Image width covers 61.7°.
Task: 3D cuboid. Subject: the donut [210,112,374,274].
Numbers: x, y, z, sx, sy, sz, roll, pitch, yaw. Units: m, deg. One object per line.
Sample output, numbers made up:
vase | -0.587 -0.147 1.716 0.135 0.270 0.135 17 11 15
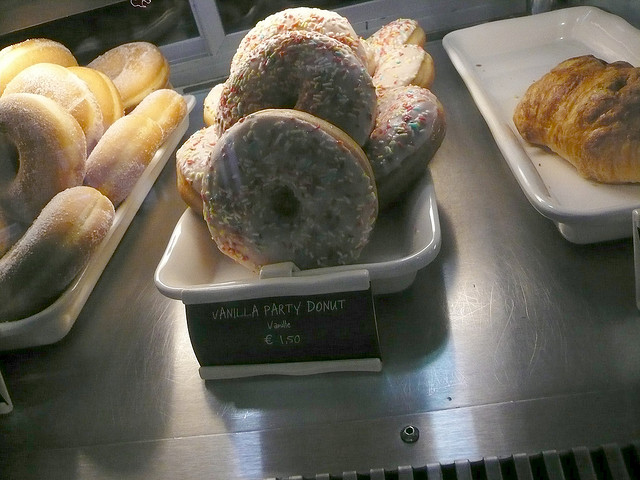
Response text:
donut | -0.039 -0.058 0.737 0.220 0.179 0.157 2 54 14

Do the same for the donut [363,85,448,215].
donut | 0.097 -0.140 0.825 0.054 0.175 0.164 18 19 25

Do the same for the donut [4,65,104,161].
donut | -0.482 -0.265 1.048 0.177 0.199 0.062 6 24 31
